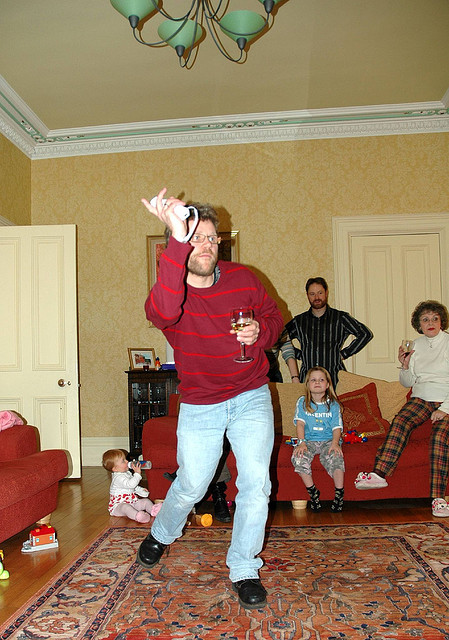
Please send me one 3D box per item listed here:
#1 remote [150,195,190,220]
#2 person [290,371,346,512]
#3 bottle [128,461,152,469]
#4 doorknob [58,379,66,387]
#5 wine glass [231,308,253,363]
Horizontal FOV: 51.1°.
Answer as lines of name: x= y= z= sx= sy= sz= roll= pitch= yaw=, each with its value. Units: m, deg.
remote: x=-0.147 y=-0.312 z=1.275 sx=0.099 sy=0.092 sz=0.093 roll=-2 pitch=-10 yaw=-3
person: x=0.566 y=0.730 z=2.861 sx=0.307 sy=0.834 sz=0.318 roll=-4 pitch=-10 yaw=12
bottle: x=-0.542 y=0.921 z=2.966 sx=0.080 sy=0.057 sz=0.221 roll=5 pitch=-12 yaw=-36
doorknob: x=-1.423 y=0.551 z=4.112 sx=0.073 sy=0.066 sz=0.018 roll=-3 pitch=-7 yaw=-12
wine glass: x=0.055 y=0.049 z=1.481 sx=0.068 sy=0.160 sz=0.169 roll=-2 pitch=-10 yaw=0
